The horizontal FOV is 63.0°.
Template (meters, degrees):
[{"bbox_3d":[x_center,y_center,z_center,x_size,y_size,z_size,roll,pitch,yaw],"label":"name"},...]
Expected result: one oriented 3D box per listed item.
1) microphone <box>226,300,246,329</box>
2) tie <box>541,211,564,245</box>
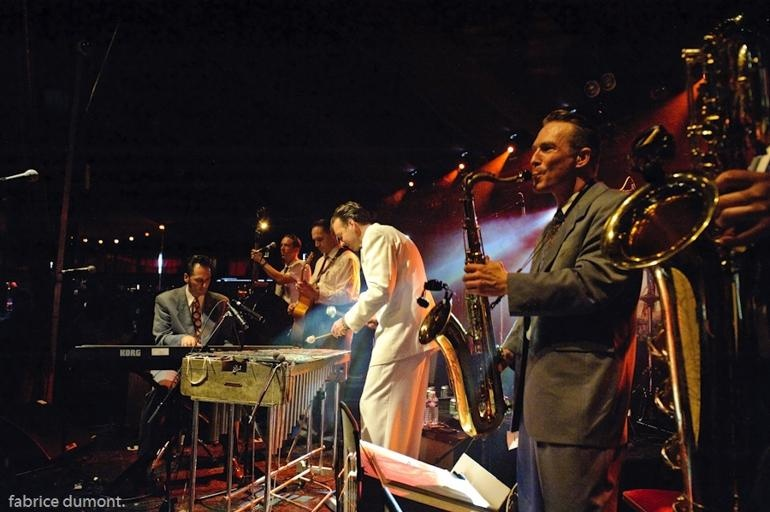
[{"bbox_3d":[-1.581,0.624,6.737,0.176,0.292,0.411,4,-9,-32],"label":"microphone"},{"bbox_3d":[1.491,-0.257,5.584,0.069,0.277,0.159,18,13,-21],"label":"tie"}]
